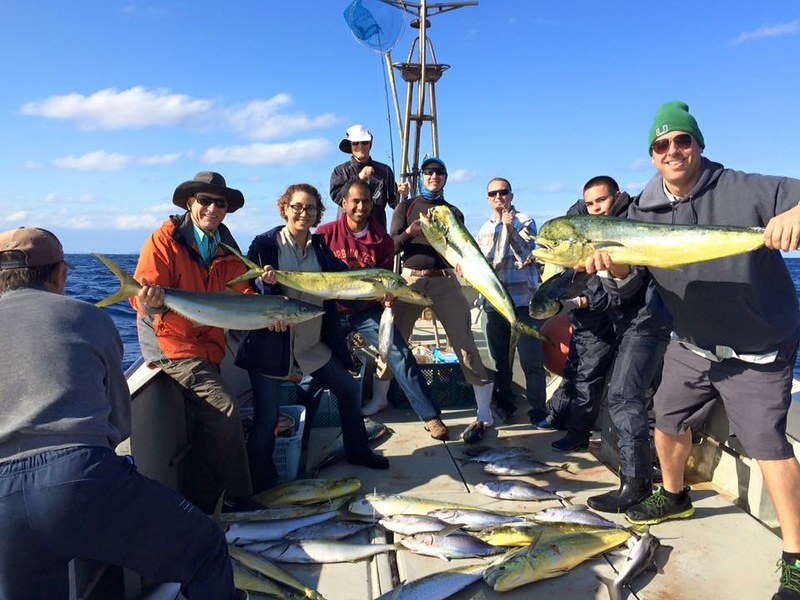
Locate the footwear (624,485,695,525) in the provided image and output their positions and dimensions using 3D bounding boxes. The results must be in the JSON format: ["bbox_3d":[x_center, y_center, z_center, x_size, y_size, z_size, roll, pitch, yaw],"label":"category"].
[{"bbox_3d":[1.916,1.538,4.945,0.554,0.251,0.209,-3,-6,-1],"label":"footwear"}]

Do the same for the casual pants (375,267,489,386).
[{"bbox_3d":[0.342,0.193,6.956,1.118,1.464,0.464,-5,27,5],"label":"casual pants"}]

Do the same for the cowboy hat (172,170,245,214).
[{"bbox_3d":[-1.516,-0.930,5.177,0.486,0.177,0.441,-2,-2,19],"label":"cowboy hat"}]

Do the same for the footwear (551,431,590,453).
[{"bbox_3d":[1.603,1.332,6.122,0.407,0.171,0.146,3,-10,-11],"label":"footwear"}]

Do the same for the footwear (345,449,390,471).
[{"bbox_3d":[-0.286,1.413,5.811,0.422,0.172,0.142,-2,-4,10],"label":"footwear"}]

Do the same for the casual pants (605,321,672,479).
[{"bbox_3d":[1.895,0.716,5.284,0.448,1.582,0.459,3,11,12],"label":"casual pants"}]

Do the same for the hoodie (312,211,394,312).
[{"bbox_3d":[-0.444,-0.324,5.928,0.963,1.030,0.554,1,6,-13],"label":"hoodie"}]

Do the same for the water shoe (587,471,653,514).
[{"bbox_3d":[1.747,1.489,5.079,0.521,0.351,0.208,-1,-33,33],"label":"water shoe"}]

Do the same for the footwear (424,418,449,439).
[{"bbox_3d":[0.360,1.258,6.372,0.134,0.114,0.270,2,-9,-20],"label":"footwear"}]

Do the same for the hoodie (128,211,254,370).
[{"bbox_3d":[-1.578,-0.051,5.018,0.558,1.269,0.974,-16,-22,30],"label":"hoodie"}]

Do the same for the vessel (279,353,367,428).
[{"bbox_3d":[-0.901,0.922,6.887,0.756,0.453,0.744,-1,-3,0],"label":"vessel"}]

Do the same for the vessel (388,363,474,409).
[{"bbox_3d":[0.314,1.050,7.624,0.680,0.397,0.990,-20,-11,20],"label":"vessel"}]

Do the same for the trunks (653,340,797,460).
[{"bbox_3d":[2.224,0.662,4.493,0.351,0.837,0.938,8,0,-32],"label":"trunks"}]
